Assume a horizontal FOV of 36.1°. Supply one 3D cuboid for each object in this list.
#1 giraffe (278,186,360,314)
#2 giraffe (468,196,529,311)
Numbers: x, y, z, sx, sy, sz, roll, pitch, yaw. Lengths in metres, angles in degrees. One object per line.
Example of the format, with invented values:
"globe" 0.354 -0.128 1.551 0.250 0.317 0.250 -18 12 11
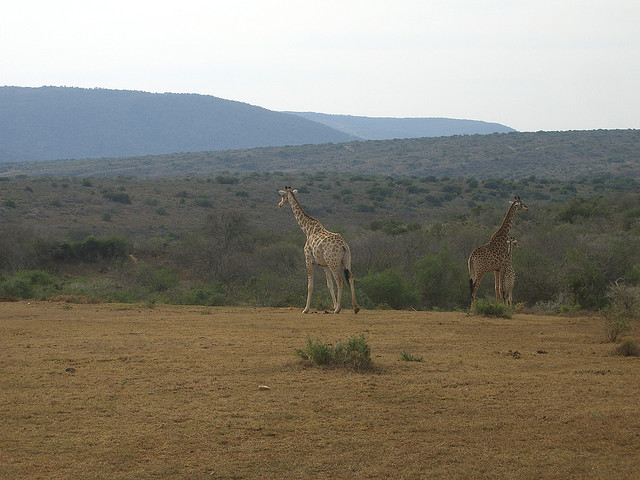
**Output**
"giraffe" -0.075 0.234 33.117 2.377 4.272 3.324 0 0 -13
"giraffe" 5.824 0.319 33.433 2.032 3.639 1.058 0 0 -34
